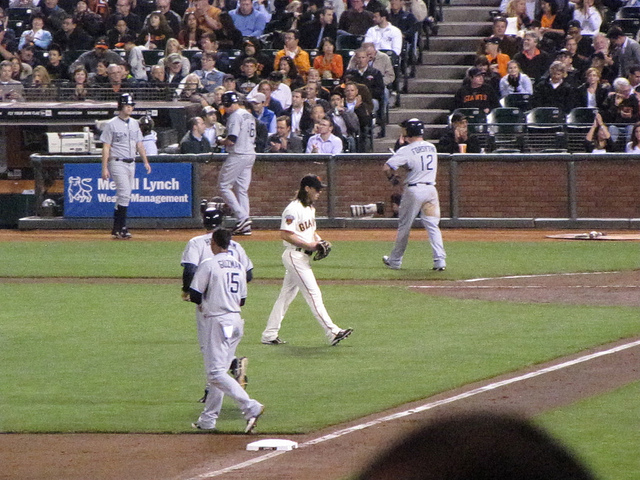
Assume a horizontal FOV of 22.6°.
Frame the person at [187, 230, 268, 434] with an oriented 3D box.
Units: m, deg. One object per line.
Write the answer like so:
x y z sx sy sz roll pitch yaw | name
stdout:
-1.352 1.269 22.280 0.990 2.798 0.826 0 6 -4 | person

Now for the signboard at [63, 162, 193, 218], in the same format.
-4.198 -1.051 34.548 3.347 1.381 0.129 -1 3 -38 | signboard

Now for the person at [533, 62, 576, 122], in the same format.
5.157 -3.299 35.846 1.009 1.185 0.787 5 8 12 | person

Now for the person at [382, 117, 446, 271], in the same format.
1.694 -0.788 29.233 1.457 2.649 1.135 2 5 23 | person

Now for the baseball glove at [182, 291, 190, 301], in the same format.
-1.907 0.800 22.688 0.132 0.108 0.102 -4 0 37 | baseball glove

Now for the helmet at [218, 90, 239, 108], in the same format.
-1.847 -2.760 31.547 0.388 0.274 0.258 2 20 18 | helmet

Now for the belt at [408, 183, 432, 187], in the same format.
1.751 -0.983 28.811 0.426 0.047 0.071 0 5 -2 | belt

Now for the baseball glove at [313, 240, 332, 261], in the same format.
-0.030 0.159 24.900 0.149 0.321 0.228 38 27 -31 | baseball glove

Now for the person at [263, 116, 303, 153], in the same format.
-0.857 -2.288 35.113 0.846 0.780 0.691 1 5 5 | person

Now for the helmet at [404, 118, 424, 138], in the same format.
1.666 -2.027 29.056 0.265 0.251 0.325 5 24 15 | helmet

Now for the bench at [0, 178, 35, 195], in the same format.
-6.940 -1.240 36.818 0.807 0.171 0.441 3 51 -7 | bench

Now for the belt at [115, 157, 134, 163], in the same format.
-3.916 -1.584 32.184 0.395 0.105 0.071 -4 7 -40 | belt

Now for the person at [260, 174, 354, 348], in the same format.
-0.310 0.330 24.710 1.257 2.628 0.540 1 6 7 | person

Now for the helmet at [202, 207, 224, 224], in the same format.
-1.522 -0.327 22.794 0.254 0.172 0.257 13 19 41 | helmet

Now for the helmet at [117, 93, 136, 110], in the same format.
-3.849 -2.750 32.110 0.330 0.320 0.444 -4 5 -37 | helmet

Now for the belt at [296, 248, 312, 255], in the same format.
-0.248 0.193 24.749 0.131 0.105 0.120 -4 18 -24 | belt

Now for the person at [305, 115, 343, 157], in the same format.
0.042 -2.282 34.850 0.773 0.805 0.481 0 5 -1 | person
